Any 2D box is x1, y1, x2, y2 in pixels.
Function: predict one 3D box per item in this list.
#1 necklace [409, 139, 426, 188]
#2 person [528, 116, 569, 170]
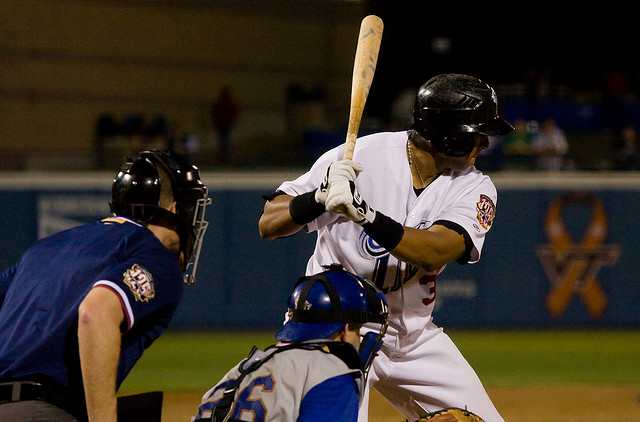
[{"bbox_3d":[1.132,-0.579,14.461,0.211,0.498,0.051,6,8,40],"label":"necklace"},{"bbox_3d":[3.842,-1.107,20.411,0.566,0.884,1.057,1,6,-4],"label":"person"}]
